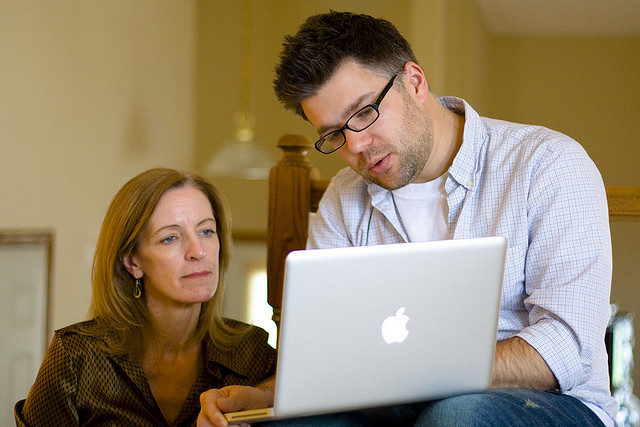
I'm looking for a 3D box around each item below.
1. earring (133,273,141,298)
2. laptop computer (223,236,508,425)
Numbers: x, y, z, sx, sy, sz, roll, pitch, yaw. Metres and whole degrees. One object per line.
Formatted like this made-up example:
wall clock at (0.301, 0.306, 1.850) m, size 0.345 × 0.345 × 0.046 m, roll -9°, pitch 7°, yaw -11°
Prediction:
earring at (-0.698, 0.268, 2.299) m, size 0.036 × 0.095 × 0.015 m, roll 0°, pitch 4°, yaw 32°
laptop computer at (0.183, 0.295, 1.593) m, size 0.621 × 0.453 × 0.083 m, roll -2°, pitch 3°, yaw -9°
